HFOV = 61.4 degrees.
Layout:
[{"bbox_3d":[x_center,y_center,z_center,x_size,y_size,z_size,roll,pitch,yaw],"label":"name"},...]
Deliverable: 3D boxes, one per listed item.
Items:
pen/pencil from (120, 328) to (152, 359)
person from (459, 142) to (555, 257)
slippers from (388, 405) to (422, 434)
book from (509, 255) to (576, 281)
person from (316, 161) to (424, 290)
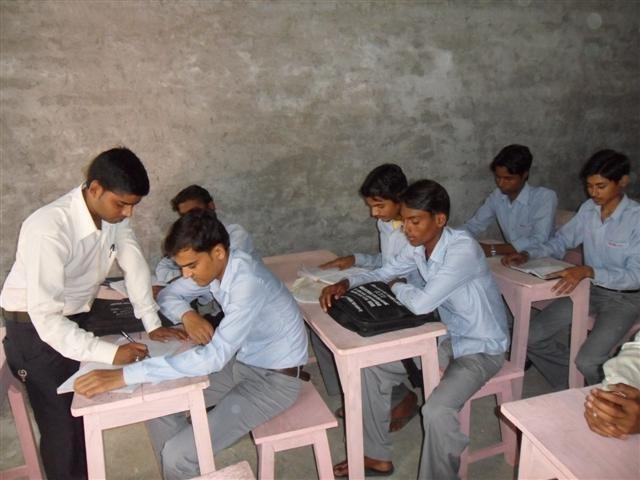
[{"bbox_3d":[-0.889,0.503,2.601,0.162,0.017,0.018,37,42,21],"label":"pen/pencil"},{"bbox_3d":[1.377,-0.247,4.043,0.741,0.861,0.696,-2,25,25],"label":"person"},{"bbox_3d":[0.521,1.101,3.401,0.254,0.094,0.084,-24,27,-32],"label":"slippers"},{"bbox_3d":[1.373,0.167,3.302,0.171,0.032,0.224,-13,18,-20],"label":"book"},{"bbox_3d":[0.438,-0.068,3.414,0.559,0.722,0.818,-9,12,-25],"label":"person"}]
